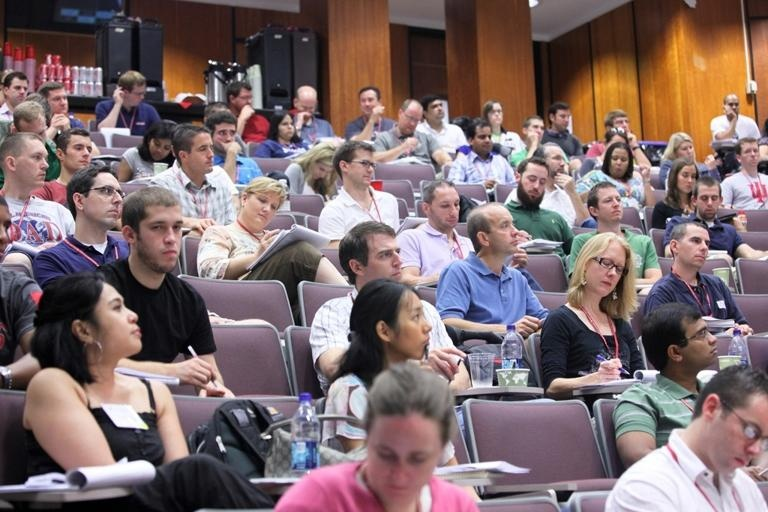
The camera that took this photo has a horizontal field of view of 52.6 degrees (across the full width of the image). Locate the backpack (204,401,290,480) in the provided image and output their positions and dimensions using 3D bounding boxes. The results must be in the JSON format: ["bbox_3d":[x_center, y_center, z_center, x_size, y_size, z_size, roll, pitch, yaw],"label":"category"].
[{"bbox_3d":[-0.581,0.700,3.047,0.262,0.281,0.267,-5,-40,-41],"label":"backpack"}]

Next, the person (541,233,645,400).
[{"bbox_3d":[1.162,0.363,4.325,0.467,0.977,0.518,13,-31,-18],"label":"person"}]

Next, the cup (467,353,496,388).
[{"bbox_3d":[0.472,0.555,3.757,0.141,0.157,0.147,-3,-4,0],"label":"cup"}]

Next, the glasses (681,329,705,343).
[{"bbox_3d":[1.462,0.381,3.642,0.068,0.021,0.070,-21,-15,-39],"label":"glasses"}]

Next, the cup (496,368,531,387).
[{"bbox_3d":[0.607,0.578,3.720,0.109,0.055,0.091,2,-6,-23],"label":"cup"}]

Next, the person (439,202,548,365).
[{"bbox_3d":[0.630,0.182,4.822,0.639,0.875,0.911,-9,-14,37],"label":"person"}]
